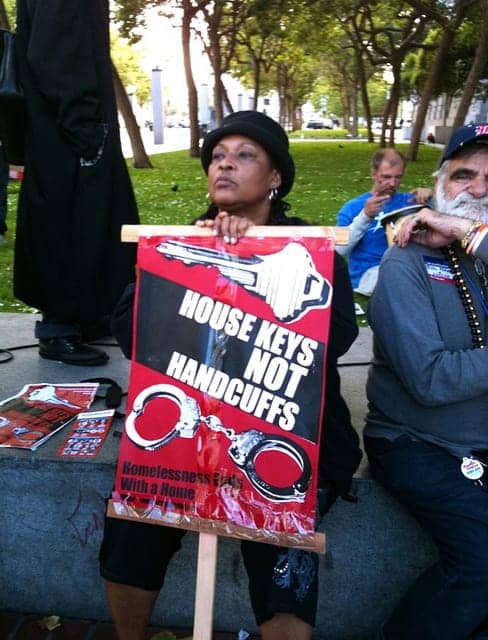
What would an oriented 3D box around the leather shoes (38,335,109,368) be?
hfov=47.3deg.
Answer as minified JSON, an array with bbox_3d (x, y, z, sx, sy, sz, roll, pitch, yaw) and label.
[{"bbox_3d":[-1.013,0.181,3.417,0.412,0.182,0.175,3,12,1],"label":"leather shoes"}]

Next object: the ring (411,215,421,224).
[{"bbox_3d":[0.619,-0.364,2.027,0.022,0.028,0.008,-12,-32,32],"label":"ring"}]

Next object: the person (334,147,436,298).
[{"bbox_3d":[1.267,-0.848,5.056,0.945,1.298,0.680,-12,28,-16],"label":"person"}]

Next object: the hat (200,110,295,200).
[{"bbox_3d":[0.038,-0.676,2.115,0.297,0.386,0.152,-13,44,27],"label":"hat"}]
